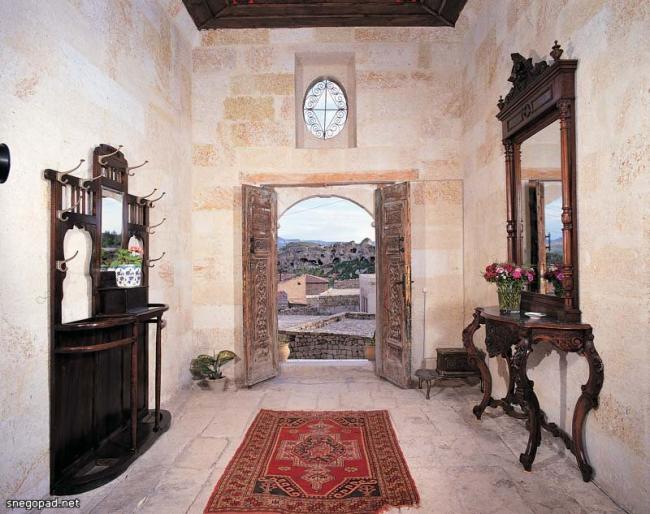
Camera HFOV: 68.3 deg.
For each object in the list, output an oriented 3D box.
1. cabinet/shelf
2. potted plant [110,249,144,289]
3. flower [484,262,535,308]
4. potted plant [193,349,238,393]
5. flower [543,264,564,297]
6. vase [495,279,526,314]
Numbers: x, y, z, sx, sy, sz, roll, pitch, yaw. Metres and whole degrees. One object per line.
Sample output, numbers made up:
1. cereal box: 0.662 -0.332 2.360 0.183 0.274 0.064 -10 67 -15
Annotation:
1. cabinet/shelf: -1.815 0.386 4.106 0.563 2.717 1.288 0 5 2
2. potted plant: -1.739 0.095 4.232 0.319 0.418 0.307 0 5 -6
3. flower: 1.629 0.268 4.275 0.397 0.397 0.395 4 -5 -28
4. potted plant: -1.392 1.370 5.974 0.510 0.456 0.487 0 -3 -9
5. flower: 1.914 0.194 4.003 0.203 0.251 0.182 -1 -4 36
6. vase: 1.690 0.362 4.346 0.257 0.300 0.255 2 -7 15
